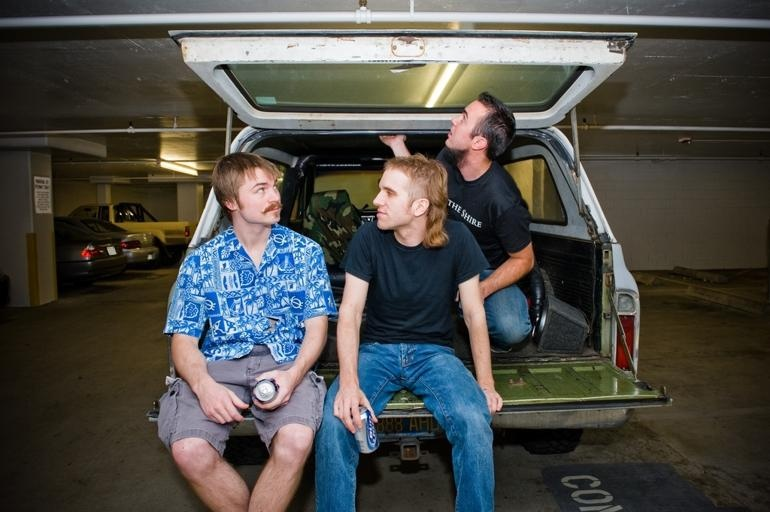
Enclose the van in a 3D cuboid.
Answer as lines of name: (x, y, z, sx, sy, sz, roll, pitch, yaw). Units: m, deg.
van: (0.240, -0.525, 6.683, 3.555, 3.248, 5.622, 0, 14, -2)
